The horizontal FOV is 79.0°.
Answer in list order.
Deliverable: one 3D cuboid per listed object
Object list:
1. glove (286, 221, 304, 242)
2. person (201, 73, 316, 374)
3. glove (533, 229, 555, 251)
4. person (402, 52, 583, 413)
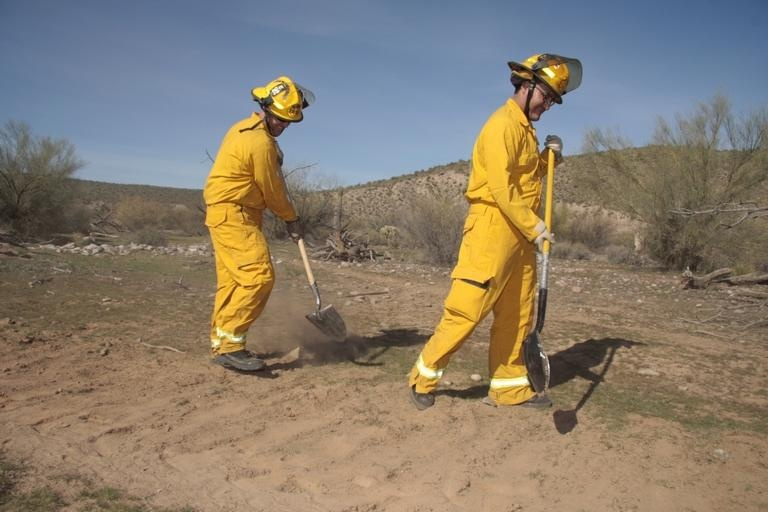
[{"bbox_3d":[-1.175,-0.337,6.265,0.276,0.370,0.269,1,7,-3],"label":"glove"},{"bbox_3d":[-1.613,-0.363,5.675,1.086,3.578,0.776,1,11,-21],"label":"person"},{"bbox_3d":[1.645,-0.162,4.788,0.185,0.209,0.264,8,9,16],"label":"glove"},{"bbox_3d":[1.205,-0.194,4.989,1.538,3.844,0.800,3,10,-11],"label":"person"}]
